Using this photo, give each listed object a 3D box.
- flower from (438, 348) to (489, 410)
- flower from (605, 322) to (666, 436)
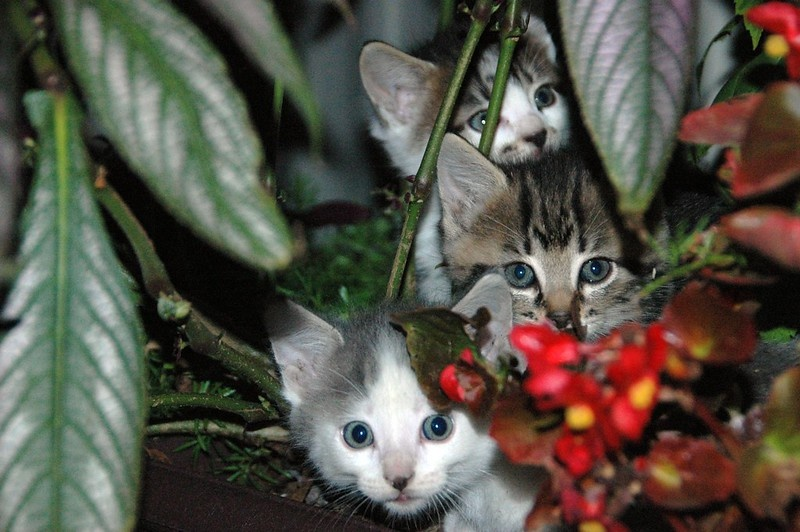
[{"bbox_3d":[0.108,0.173,1.393,0.072,0.097,0.037,-26,10,30],"label":"flower"},{"bbox_3d":[0.311,0.154,1.216,0.033,0.127,0.119,15,11,-5],"label":"flower"}]
